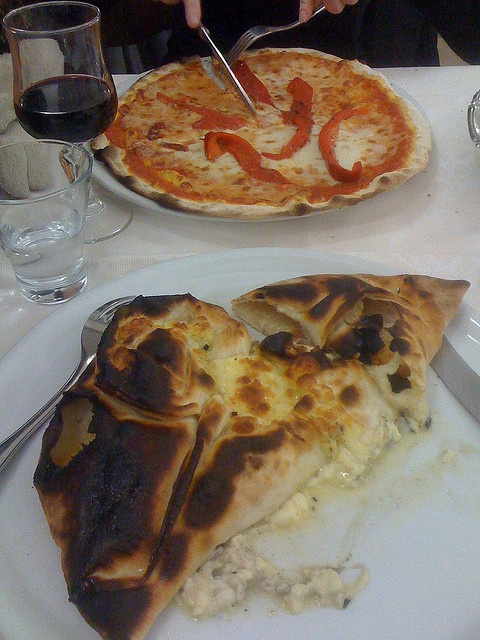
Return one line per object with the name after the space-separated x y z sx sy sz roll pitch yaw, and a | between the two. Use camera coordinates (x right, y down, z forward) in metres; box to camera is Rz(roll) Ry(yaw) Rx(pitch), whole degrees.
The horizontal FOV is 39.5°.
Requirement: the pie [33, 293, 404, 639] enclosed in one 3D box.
-0.072 0.130 0.925 0.520 0.194 0.374 -32 46 -29 | pie
